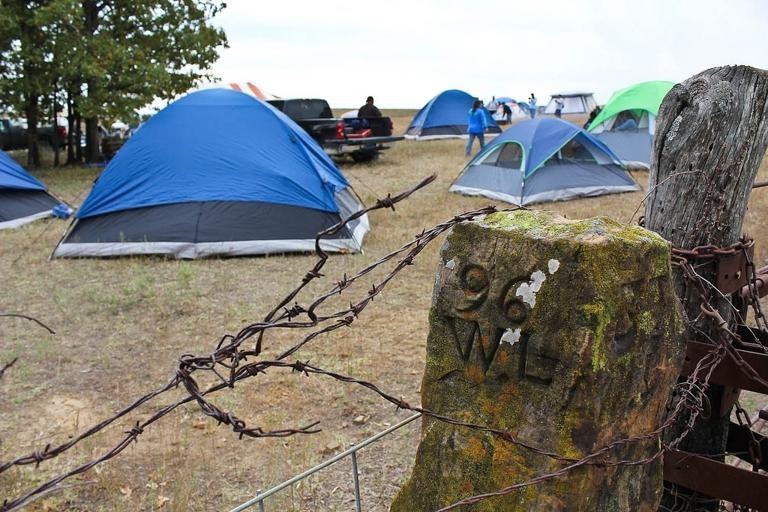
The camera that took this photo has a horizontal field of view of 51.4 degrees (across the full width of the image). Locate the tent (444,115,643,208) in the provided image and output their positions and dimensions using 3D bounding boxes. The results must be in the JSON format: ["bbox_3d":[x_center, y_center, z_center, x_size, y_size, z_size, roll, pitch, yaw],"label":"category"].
[{"bbox_3d":[3.071,-1.667,14.568,2.146,1.008,2.152,-11,17,-26],"label":"tent"}]
